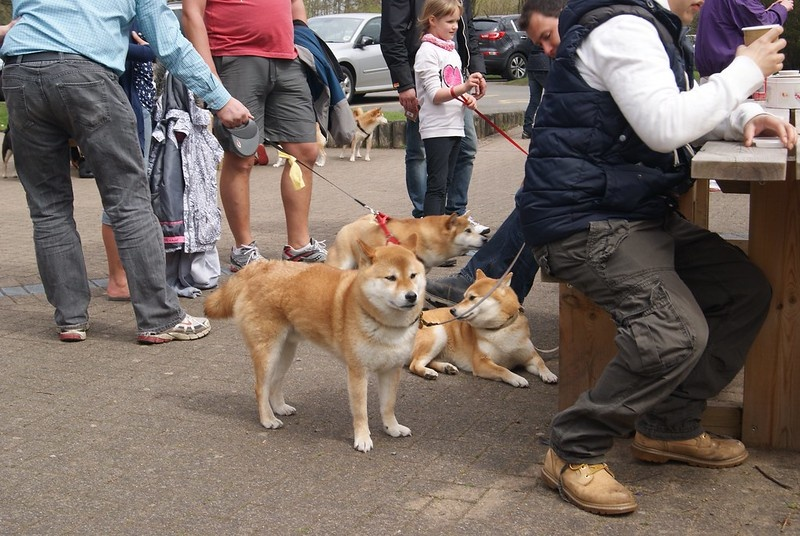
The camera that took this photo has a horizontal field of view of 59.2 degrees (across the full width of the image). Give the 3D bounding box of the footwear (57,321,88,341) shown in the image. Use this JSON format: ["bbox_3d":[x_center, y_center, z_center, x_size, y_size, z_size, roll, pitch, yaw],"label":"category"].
[{"bbox_3d":[-2.504,0.508,5.380,0.095,0.100,0.248,1,-3,-8],"label":"footwear"}]

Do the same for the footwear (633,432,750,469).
[{"bbox_3d":[1.597,1.005,3.980,0.609,0.254,0.217,-1,11,7],"label":"footwear"}]

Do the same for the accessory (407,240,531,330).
[{"bbox_3d":[0.541,0.139,5.325,1.167,0.198,0.061,-37,54,-24],"label":"accessory"}]

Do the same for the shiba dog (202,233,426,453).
[{"bbox_3d":[-0.476,0.466,4.461,1.778,1.151,0.545,2,6,35],"label":"shiba dog"}]

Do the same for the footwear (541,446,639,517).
[{"bbox_3d":[0.949,1.098,3.632,0.445,0.201,0.218,13,18,41],"label":"footwear"}]

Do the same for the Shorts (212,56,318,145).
[{"bbox_3d":[-1.352,-1.596,6.788,0.980,0.878,0.558,-7,6,-37],"label":"Shorts"}]

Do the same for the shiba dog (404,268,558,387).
[{"bbox_3d":[0.594,0.486,5.340,0.778,0.683,1.418,-7,3,-41],"label":"shiba dog"}]

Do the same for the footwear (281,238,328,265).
[{"bbox_3d":[-0.926,-0.155,7.255,0.631,0.256,0.231,-1,8,-17],"label":"footwear"}]

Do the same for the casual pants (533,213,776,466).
[{"bbox_3d":[1.409,0.349,4.173,1.332,1.573,1.302,2,3,35],"label":"casual pants"}]
